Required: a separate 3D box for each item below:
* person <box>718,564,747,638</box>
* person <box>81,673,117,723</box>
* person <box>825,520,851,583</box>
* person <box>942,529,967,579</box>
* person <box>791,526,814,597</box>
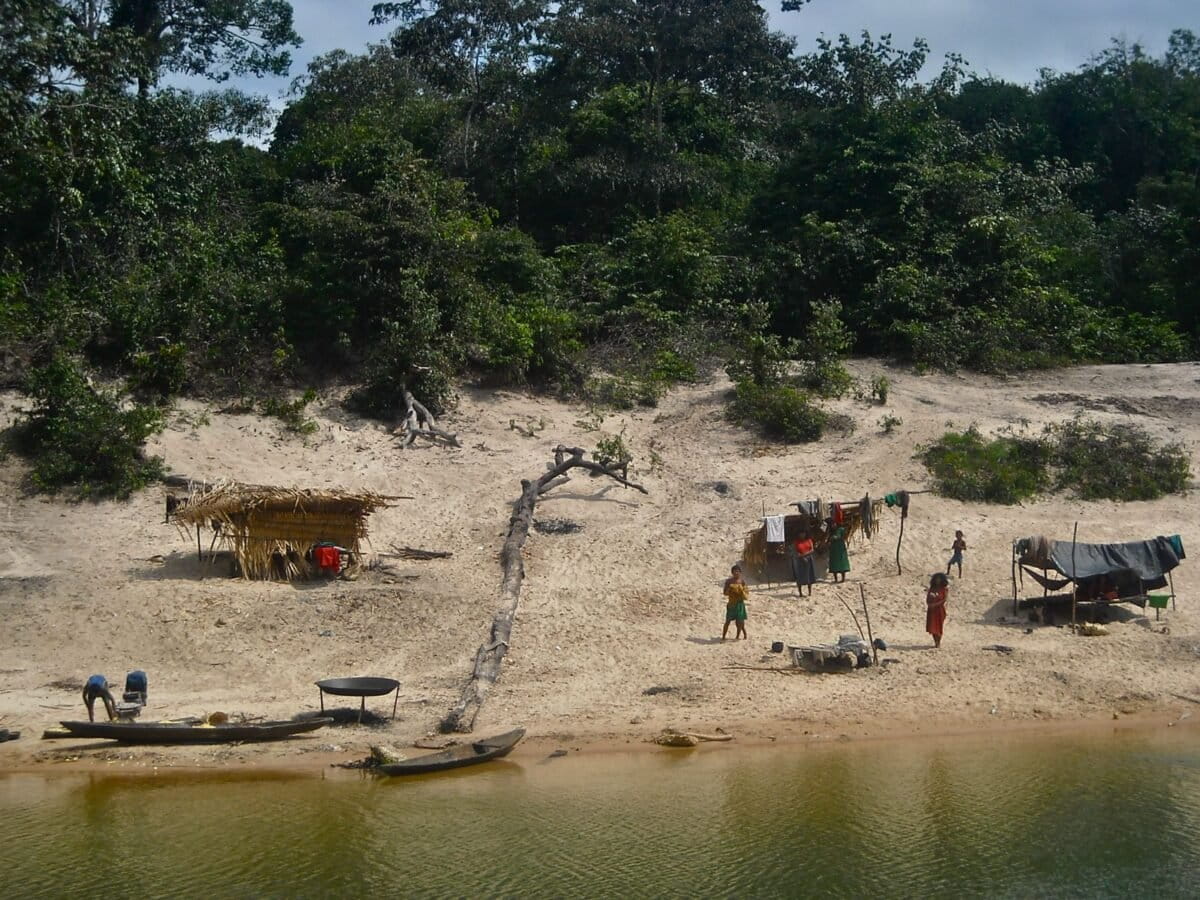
[{"bbox_3d":[3.223,3.713,38.005,0.585,1.274,1.029,-2,-2,4],"label":"person"},{"bbox_3d":[-10.780,5.388,33.860,0.674,0.393,1.095,5,-38,-10],"label":"person"},{"bbox_3d":[6.071,2.621,40.338,0.479,1.205,0.408,-2,-1,10],"label":"person"},{"bbox_3d":[9.321,2.732,41.182,0.581,0.975,1.482,-2,-2,13],"label":"person"},{"bbox_3d":[5.174,2.869,39.865,0.507,1.273,1.006,-2,-2,6],"label":"person"}]
